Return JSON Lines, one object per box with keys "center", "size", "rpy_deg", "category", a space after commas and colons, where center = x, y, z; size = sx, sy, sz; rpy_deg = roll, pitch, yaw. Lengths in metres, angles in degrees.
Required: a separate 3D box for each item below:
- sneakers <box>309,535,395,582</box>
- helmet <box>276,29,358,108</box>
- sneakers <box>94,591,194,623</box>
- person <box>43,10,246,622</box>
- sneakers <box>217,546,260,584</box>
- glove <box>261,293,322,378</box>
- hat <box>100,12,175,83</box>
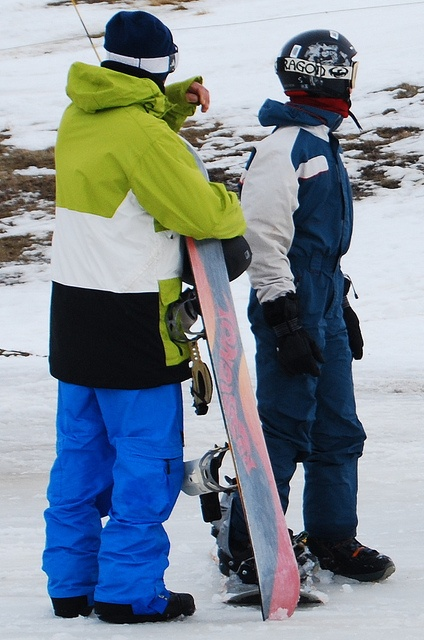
{"center": [0.514, 0.881, 3.973], "size": [0.408, 0.168, 0.140], "rpy_deg": [-3, 1, 45], "category": "sneakers"}
{"center": [0.398, -0.987, 4.033], "size": [0.355, 0.259, 0.254], "rpy_deg": [1, 18, 2], "category": "helmet"}
{"center": [-0.202, 0.910, 3.411], "size": [0.321, 0.110, 0.109], "rpy_deg": [-2, 4, -31], "category": "sneakers"}
{"center": [-0.285, -0.018, 3.441], "size": [0.626, 1.985, 0.614], "rpy_deg": [5, 11, 26], "category": "person"}
{"center": [0.096, 0.890, 3.805], "size": [0.180, 0.119, 0.140], "rpy_deg": [-5, -13, 29], "category": "sneakers"}
{"center": [0.290, 0.069, 3.729], "size": [0.167, 0.324, 0.154], "rpy_deg": [-17, 7, -26], "category": "glove"}
{"center": [-0.242, -0.925, 3.490], "size": [0.287, 0.216, 0.186], "rpy_deg": [11, 31, 11], "category": "hat"}
